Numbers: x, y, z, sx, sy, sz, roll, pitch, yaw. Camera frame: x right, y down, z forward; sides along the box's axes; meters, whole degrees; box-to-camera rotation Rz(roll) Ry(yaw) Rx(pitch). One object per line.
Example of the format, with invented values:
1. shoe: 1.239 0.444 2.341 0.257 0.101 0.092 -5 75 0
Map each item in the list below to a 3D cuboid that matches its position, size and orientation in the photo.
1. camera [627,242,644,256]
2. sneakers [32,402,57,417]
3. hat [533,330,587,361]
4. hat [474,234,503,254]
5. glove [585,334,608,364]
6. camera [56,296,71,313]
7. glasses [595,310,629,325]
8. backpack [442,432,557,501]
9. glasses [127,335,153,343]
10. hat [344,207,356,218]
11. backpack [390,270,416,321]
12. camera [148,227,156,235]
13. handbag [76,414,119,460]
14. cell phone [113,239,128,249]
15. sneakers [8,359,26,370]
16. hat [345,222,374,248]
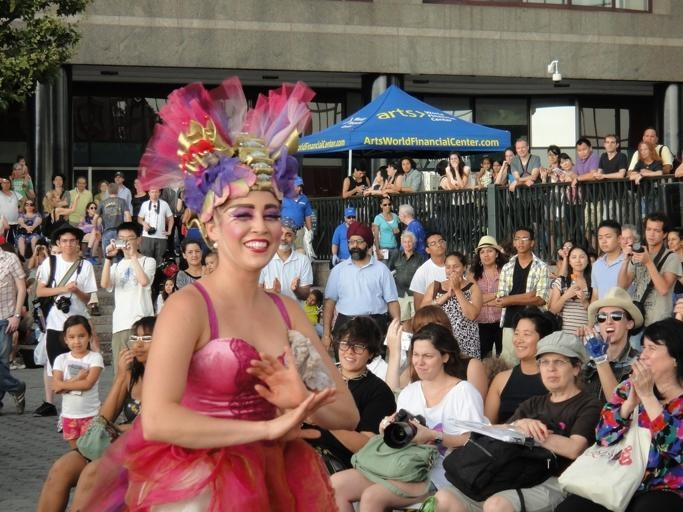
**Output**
1. camera: 3.257 -0.075 10.464 0.104 0.152 0.144 0 43 4
2. sneakers: -3.807 1.951 12.146 0.289 0.163 0.341 1 0 -19
3. hat: 1.793 0.741 7.669 0.416 0.254 0.289 1 0 10
4. hat: 1.979 -0.158 12.612 0.340 0.159 0.321 1 0 6
5. glove: 2.094 0.761 7.792 0.174 0.246 0.116 1 -9 3
6. camera: -3.477 0.603 11.934 0.134 0.187 0.226 1 0 36
7. glasses: 2.532 0.559 8.731 0.322 0.128 0.186 1 0 15
8. backpack: 1.214 1.587 7.208 0.633 0.302 0.523 -1 10 -27
9. glasses: -1.749 0.724 8.239 0.150 0.055 0.421 1 0 -18
10. hat: 0.150 -0.790 16.798 0.240 0.189 0.404 1 1 -3
11. backpack: 0.831 0.540 12.738 0.500 0.738 0.406 -2 -22 0
12. camera: -3.367 -0.456 16.804 0.096 0.130 0.130 4 4 6
13. handbag: -1.934 1.447 7.451 0.314 0.317 0.285 1 0 -3
14. cell phone: -2.849 -0.160 12.193 0.187 0.110 0.130 2 -6 3
15. sneakers: -5.354 1.804 15.585 0.300 0.144 0.107 -2 0 24
16. hat: 0.226 -0.298 12.299 0.264 0.347 0.347 3 3 5
